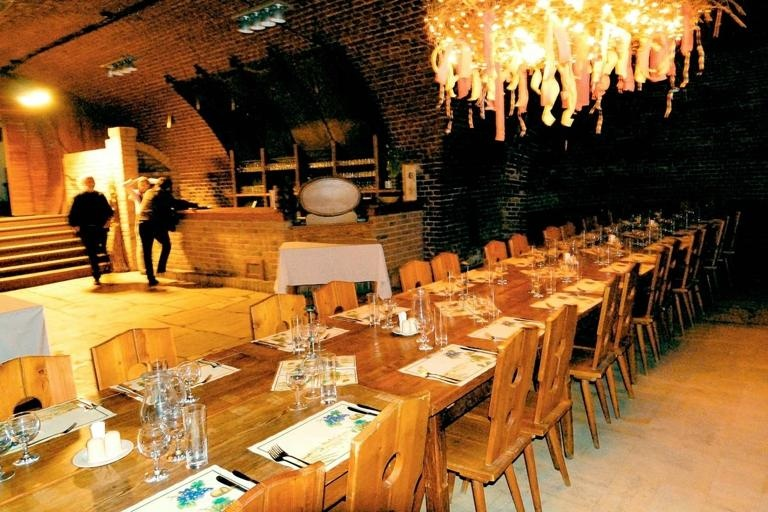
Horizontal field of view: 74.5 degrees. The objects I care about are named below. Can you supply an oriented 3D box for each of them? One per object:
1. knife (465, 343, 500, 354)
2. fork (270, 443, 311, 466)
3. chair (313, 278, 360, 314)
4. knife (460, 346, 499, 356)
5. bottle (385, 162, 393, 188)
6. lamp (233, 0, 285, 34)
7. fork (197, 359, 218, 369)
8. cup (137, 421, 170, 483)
[{"bbox_3d":[0.659,0.615,3.329,0.125,0.028,0.137,0,2,43],"label":"knife"},{"bbox_3d":[-0.467,0.994,2.493,0.238,0.032,0.060,17,26,29],"label":"fork"},{"bbox_3d":[-0.403,0.330,4.185,0.278,0.433,0.324,-6,8,-38],"label":"chair"},{"bbox_3d":[0.619,0.627,3.269,0.119,0.028,0.106,1,1,25],"label":"knife"},{"bbox_3d":[0.090,-1.308,8.257,0.091,0.429,0.351,-6,7,-10],"label":"bottle"},{"bbox_3d":[-1.774,-3.430,7.224,0.857,0.212,0.411,-1,7,31],"label":"lamp"},{"bbox_3d":[-1.144,0.695,3.257,0.079,0.018,0.077,6,2,31],"label":"fork"},{"bbox_3d":[-1.142,0.959,2.489,0.146,0.227,0.278,-9,8,-29],"label":"cup"}]
